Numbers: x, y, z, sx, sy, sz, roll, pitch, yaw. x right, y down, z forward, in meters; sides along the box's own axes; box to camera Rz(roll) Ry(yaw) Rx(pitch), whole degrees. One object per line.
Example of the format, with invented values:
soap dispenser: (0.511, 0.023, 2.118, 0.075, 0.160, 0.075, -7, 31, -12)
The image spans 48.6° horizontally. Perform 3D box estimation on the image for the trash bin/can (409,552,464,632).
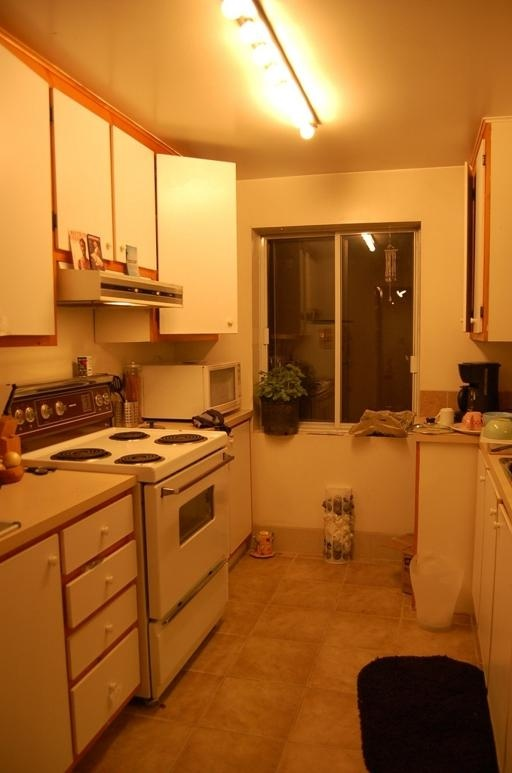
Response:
trash bin/can: (0.751, 0.895, 2.536, 0.253, 0.336, 0.257, -3, 3, 5)

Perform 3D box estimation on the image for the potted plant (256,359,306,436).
potted plant: (0.128, 0.071, 3.720, 0.376, 0.552, 0.417, 0, 3, 0)

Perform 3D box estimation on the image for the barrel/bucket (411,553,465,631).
barrel/bucket: (0.762, 0.879, 2.563, 0.253, 0.331, 0.266, -2, 3, 0)

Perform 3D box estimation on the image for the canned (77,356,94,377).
canned: (-0.730, -0.085, 2.409, 0.065, 0.086, 0.118, 1, 5, -5)

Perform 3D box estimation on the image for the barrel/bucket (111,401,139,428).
barrel/bucket: (-0.640, 0.126, 2.765, 0.076, 0.135, 0.134, -1, 1, -13)

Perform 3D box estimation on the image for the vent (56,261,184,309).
vent: (-0.551, -0.371, 2.247, 0.201, 0.140, 0.631, 0, 1, 16)

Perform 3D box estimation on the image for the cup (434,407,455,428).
cup: (0.946, 0.171, 2.872, 0.105, 0.113, 0.067, 1, 2, 6)
